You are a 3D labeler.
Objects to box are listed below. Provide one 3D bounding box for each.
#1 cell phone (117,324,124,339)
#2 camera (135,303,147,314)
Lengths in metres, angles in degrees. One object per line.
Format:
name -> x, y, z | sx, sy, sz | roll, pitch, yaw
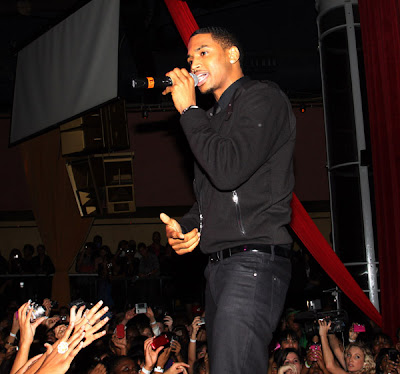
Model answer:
cell phone -> -0.730, 1.319, 3.678 | 0.065, 0.122, 0.027 | 1, -1, 17
camera -> -0.624, 1.279, 4.225 | 0.122, 0.145, 0.094 | 0, -1, -9
